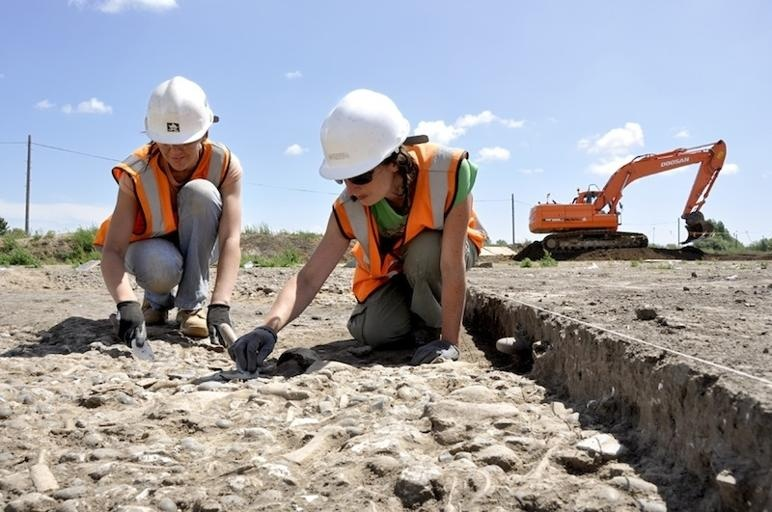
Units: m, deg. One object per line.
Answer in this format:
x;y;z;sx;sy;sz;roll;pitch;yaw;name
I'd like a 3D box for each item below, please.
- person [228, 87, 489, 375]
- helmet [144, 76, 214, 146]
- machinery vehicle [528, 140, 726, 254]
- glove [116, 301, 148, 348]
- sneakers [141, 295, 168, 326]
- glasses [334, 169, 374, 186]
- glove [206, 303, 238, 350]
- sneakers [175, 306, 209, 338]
-0.044;-0.094;3.406;0.932;1.545;1.682;-2;5;35;person
-1.209;-0.843;3.516;0.339;0.397;0.224;-5;6;-24;helmet
5.936;-1.204;14.935;4.060;2.905;1.544;-1;-15;22;machinery vehicle
-1.394;0.376;3.327;0.145;0.265;0.093;0;-22;-16;glove
-1.510;0.377;3.968;0.082;0.126;0.267;0;-11;-4;sneakers
-0.180;-0.390;3.061;0.218;0.069;0.139;3;8;44;glasses
-0.948;0.391;3.468;0.219;0.268;0.078;-1;9;-5;glove
-1.200;0.422;3.783;0.137;0.142;0.280;2;-7;-27;sneakers
